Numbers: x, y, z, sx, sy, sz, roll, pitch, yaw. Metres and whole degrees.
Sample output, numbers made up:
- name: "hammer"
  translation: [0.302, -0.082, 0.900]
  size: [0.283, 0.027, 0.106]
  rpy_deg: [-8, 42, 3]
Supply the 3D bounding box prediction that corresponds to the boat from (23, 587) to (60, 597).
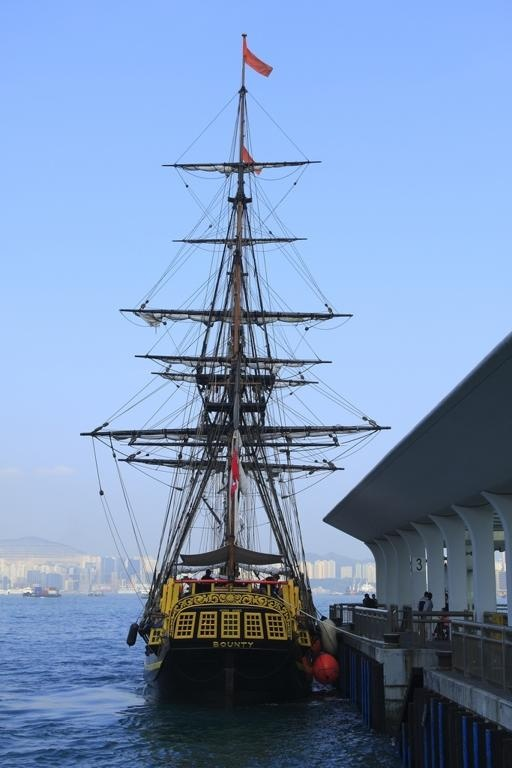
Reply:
- name: "boat"
  translation: [-80.733, 78.619, 301.807]
  size: [9.375, 4.057, 15.293]
  rpy_deg: [-6, -14, 9]
